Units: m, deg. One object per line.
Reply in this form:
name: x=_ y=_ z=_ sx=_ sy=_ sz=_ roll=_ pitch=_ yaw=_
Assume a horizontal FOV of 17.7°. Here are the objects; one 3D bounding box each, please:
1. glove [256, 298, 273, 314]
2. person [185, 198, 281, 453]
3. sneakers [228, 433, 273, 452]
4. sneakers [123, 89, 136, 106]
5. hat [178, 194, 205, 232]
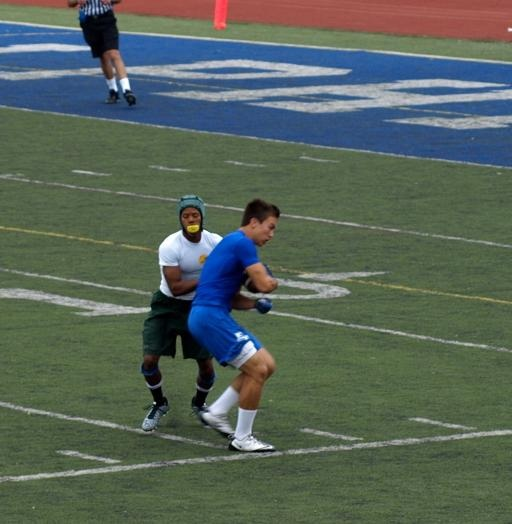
glove: x=0.074 y=0.269 z=10.355 sx=0.093 sy=0.090 sz=0.105 roll=10 pitch=9 yaw=-24
person: x=-0.145 y=0.427 z=10.484 sx=0.582 sy=1.586 sz=0.820 roll=0 pitch=22 yaw=0
sneakers: x=-0.043 y=1.144 z=10.426 sx=0.320 sy=0.101 sz=0.101 roll=1 pitch=5 yaw=-4
sneakers: x=-1.837 y=-2.398 z=23.883 sx=0.172 sy=0.093 sz=0.244 roll=-7 pitch=-13 yaw=-13
hat: x=-0.427 y=-0.351 z=10.892 sx=0.204 sy=0.209 sz=0.241 roll=-1 pitch=-14 yaw=-2
